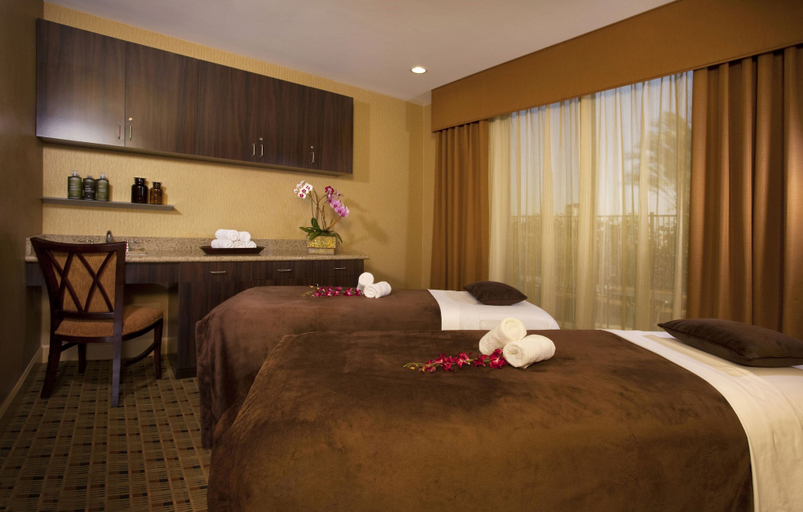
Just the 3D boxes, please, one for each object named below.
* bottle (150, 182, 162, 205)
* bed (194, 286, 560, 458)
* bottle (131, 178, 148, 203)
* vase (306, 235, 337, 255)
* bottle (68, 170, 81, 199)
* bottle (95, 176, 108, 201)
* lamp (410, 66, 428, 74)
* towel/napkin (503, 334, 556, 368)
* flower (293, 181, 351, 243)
[{"bbox_3d":[-2.332,-0.599,5.060,0.096,0.220,0.145,3,7,34],"label":"bottle"},{"bbox_3d":[-0.334,0.670,4.010,2.178,0.661,1.295,2,-4,-18],"label":"bed"},{"bbox_3d":[-2.464,-0.619,4.987,0.168,0.245,0.121,-7,8,-42],"label":"bottle"},{"bbox_3d":[-0.875,-0.108,5.688,0.223,0.139,0.219,1,-1,-24],"label":"vase"},{"bbox_3d":[-2.939,-0.636,4.748,0.117,0.257,0.130,-5,7,-31],"label":"bottle"},{"bbox_3d":[-2.724,-0.607,4.805,0.098,0.229,0.055,-5,7,-29],"label":"bottle"},{"bbox_3d":[0.191,-2.005,5.721,0.162,0.040,0.189,-1,6,2],"label":"lamp"},{"bbox_3d":[0.766,0.554,3.175,0.218,0.144,0.362,9,10,43],"label":"towel/napkin"},{"bbox_3d":[-0.830,-0.481,5.861,0.674,0.720,0.596,-3,6,-19],"label":"flower"}]
